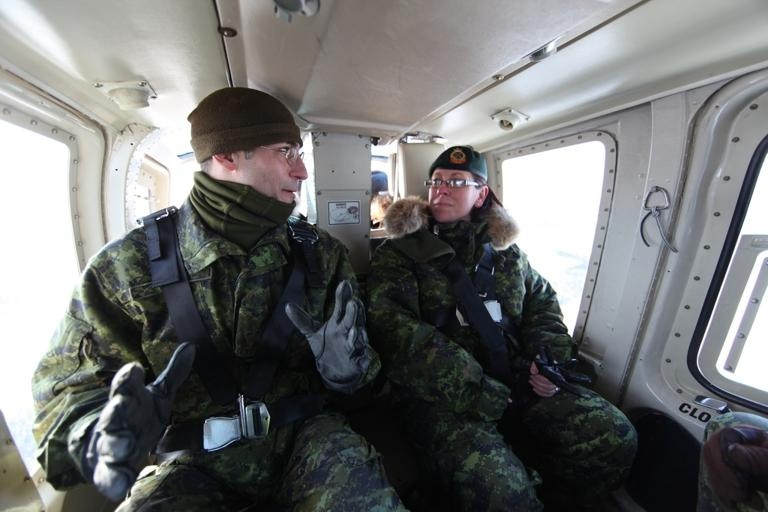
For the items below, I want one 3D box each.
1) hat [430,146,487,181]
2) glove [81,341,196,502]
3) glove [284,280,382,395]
[{"bbox_3d":[0.598,-0.741,4.110,0.282,0.155,0.348,15,-8,-40],"label":"hat"},{"bbox_3d":[-1.228,0.799,2.572,0.211,0.681,0.668,37,-11,-37],"label":"glove"},{"bbox_3d":[-0.318,0.422,3.216,0.582,0.660,0.196,-29,21,-4],"label":"glove"}]
